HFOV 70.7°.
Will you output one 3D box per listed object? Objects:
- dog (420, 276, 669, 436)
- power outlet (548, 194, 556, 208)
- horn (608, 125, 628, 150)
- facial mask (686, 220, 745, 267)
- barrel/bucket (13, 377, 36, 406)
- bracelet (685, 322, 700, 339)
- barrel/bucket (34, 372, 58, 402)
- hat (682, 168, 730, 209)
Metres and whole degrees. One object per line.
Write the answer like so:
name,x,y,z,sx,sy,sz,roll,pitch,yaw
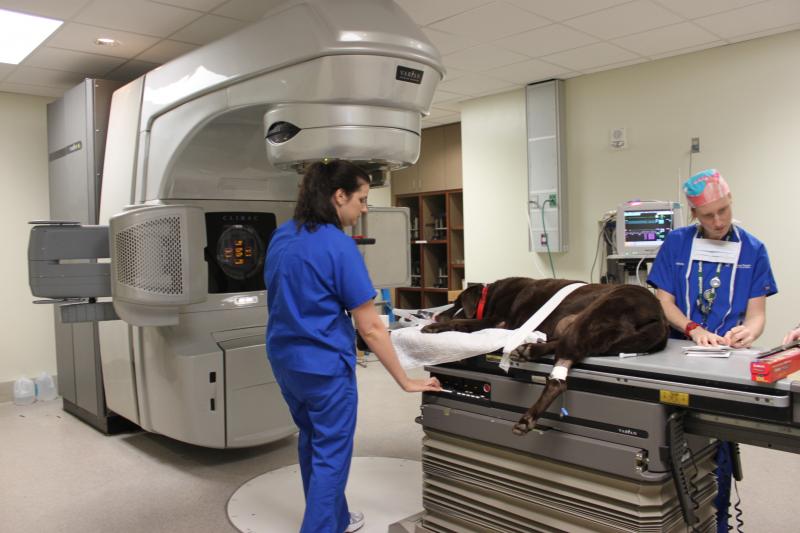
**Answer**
dog,0.671,0.358,2.730,0.683,0.572,0.940,-8,10,-35
power outlet,1.657,-0.724,6.117,0.085,0.117,0.029,2,-1,34
horn,2.235,-1.320,5.739,0.162,0.214,0.061,4,0,42
facial mask,1.613,-0.109,2.865,0.240,0.162,0.267,3,1,30
barrel/bucket,-3.656,1.189,5.420,0.192,0.238,0.144,-7,10,-33
bracelet,1.423,0.310,2.732,0.048,0.064,0.073,25,24,33
barrel/bucket,-3.515,1.169,5.531,0.179,0.260,0.227,-7,10,-33
hat,1.525,-0.387,2.797,0.193,0.184,0.183,4,10,35
